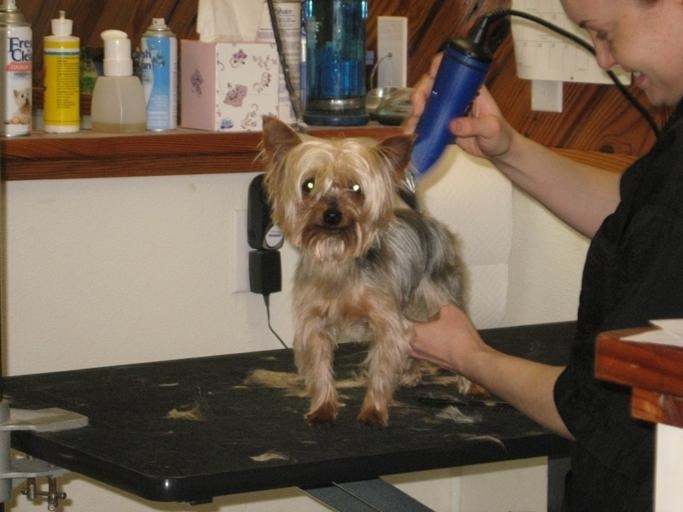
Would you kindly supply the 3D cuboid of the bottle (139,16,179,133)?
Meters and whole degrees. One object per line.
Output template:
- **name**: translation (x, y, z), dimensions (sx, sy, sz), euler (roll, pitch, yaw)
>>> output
- **bottle**: translation (-0.391, -0.405, 1.722), dimensions (0.084, 0.237, 0.071), euler (15, 20, 33)

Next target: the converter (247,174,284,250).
- **converter**: translation (-0.158, -0.083, 1.592), dimensions (0.081, 0.155, 0.050), euler (7, 18, 7)

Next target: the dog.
- **dog**: translation (0.042, 0.028, 1.438), dimensions (0.253, 0.499, 0.557), euler (1, 2, 20)

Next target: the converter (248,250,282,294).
- **converter**: translation (-0.166, 0.041, 1.662), dimensions (0.082, 0.097, 0.081), euler (-2, 1, -26)
